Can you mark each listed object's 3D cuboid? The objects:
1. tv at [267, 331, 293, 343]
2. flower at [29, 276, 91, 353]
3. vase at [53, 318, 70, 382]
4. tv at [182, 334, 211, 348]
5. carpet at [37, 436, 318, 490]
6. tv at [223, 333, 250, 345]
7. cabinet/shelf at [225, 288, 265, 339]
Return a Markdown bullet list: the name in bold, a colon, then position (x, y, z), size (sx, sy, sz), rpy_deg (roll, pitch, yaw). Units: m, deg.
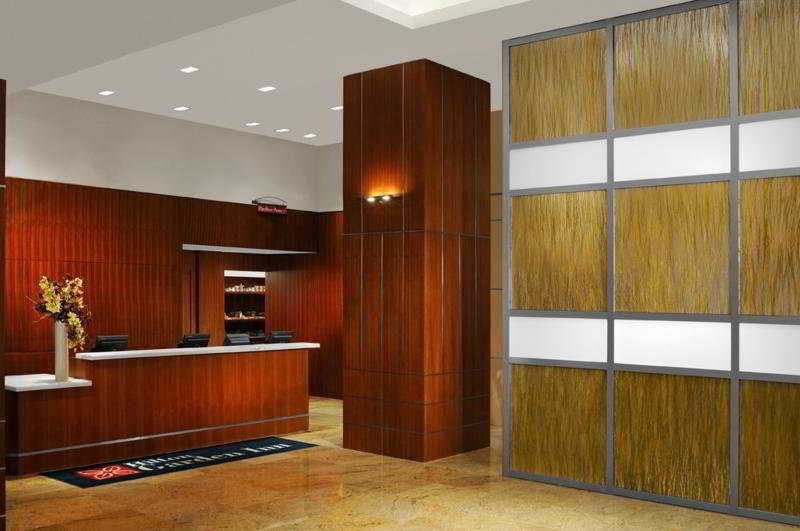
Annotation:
- **tv**: position (-2.191, 1.265, 11.240), size (0.469, 0.248, 0.443), rpy_deg (3, -3, -42)
- **flower**: position (-4.742, 0.703, 8.854), size (0.686, 0.980, 0.554), rpy_deg (14, -26, -43)
- **vase**: position (-4.614, 1.167, 8.642), size (0.151, 0.813, 0.381), rpy_deg (0, 0, -24)
- **tv**: position (-3.289, 1.213, 10.110), size (0.456, 0.210, 0.797), rpy_deg (0, 0, -20)
- **carpet**: position (-3.074, 2.776, 8.947), size (3.345, 0.065, 1.020), rpy_deg (0, 0, -38)
- **tv**: position (-2.723, 1.244, 10.551), size (0.403, 0.179, 0.428), rpy_deg (0, 0, -17)
- **cabinet/shelf**: position (-3.584, 1.109, 14.446), size (0.359, 1.146, 1.130), rpy_deg (-4, -6, 37)
